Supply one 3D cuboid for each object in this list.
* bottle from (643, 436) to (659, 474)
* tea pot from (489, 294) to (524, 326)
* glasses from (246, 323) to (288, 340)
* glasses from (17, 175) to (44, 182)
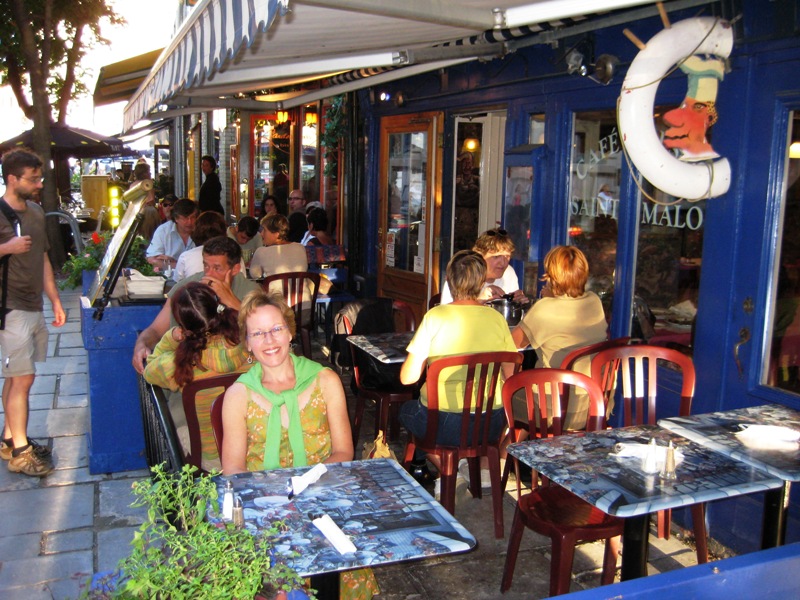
[{"bbox_3d":[1.044,0.641,2.397,0.061,0.107,0.130,7,13,25],"label":"bottle"},{"bbox_3d":[0.861,0.130,4.696,0.203,0.175,0.321,3,2,-35],"label":"tea pot"},{"bbox_3d":[-0.614,0.149,2.631,0.157,0.051,0.047,-1,12,-9],"label":"glasses"},{"bbox_3d":[-2.743,-0.900,4.307,0.095,0.063,0.223,-1,12,-9],"label":"glasses"}]
